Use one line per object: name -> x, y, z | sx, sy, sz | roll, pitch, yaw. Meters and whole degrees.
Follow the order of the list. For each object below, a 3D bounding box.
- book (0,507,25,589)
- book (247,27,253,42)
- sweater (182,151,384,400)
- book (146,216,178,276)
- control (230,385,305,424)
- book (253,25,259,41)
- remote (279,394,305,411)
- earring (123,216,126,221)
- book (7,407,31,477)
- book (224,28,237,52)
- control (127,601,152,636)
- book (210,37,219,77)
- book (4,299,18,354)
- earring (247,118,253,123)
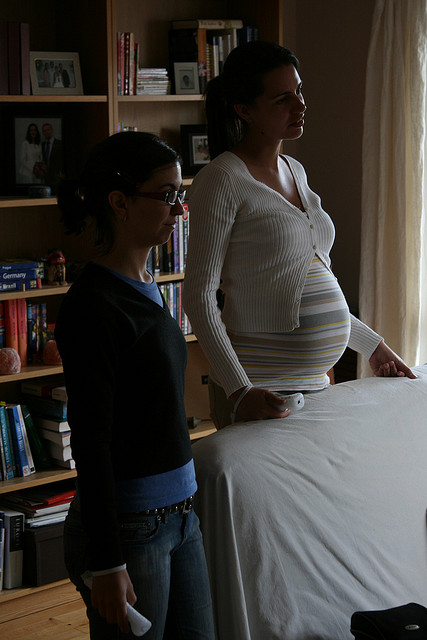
book -> -0.769, 0.882, 2.077 | 0.105, 0.295, 0.038 | -9, 10, -24
book -> 0.170, -1.347, 2.535 | 0.023, 0.064, 0.041 | -2, 10, 17
sweater -> 0.092, -0.118, 1.114 | 0.200, 0.458, 0.414 | 3, 12, 39
book -> -0.207, -0.356, 2.534 | 0.148, 0.225, 0.225 | 10, -3, 2
control -> 0.108, 0.158, 1.042 | 0.111, 0.032, 0.082 | -13, 3, -5
book -> 0.199, -1.362, 2.553 | 0.030, 0.075, 0.053 | -4, 9, 6
remote -> 0.154, 0.159, 1.060 | 0.046, 0.030, 0.025 | -6, 37, 20
earring -> -0.117, -0.134, 0.708 | 0.004, 0.006, 0.001 | -6, 9, -4
book -> -0.748, 0.472, 2.086 | 0.048, 0.206, 0.203 | -10, 15, -12
book -> 0.087, -1.302, 2.487 | 0.060, 0.115, 0.088 | -6, 9, -7
control -> -0.082, 0.327, 0.588 | 0.023, 0.038, 0.020 | -6, 9, -9
book -> 0.003, -1.223, 2.502 | 0.041, 0.184, 0.041 | -5, 9, 2
book -> -0.790, 0.016, 2.114 | 0.063, 0.197, 0.022 | -8, 10, -21
earring -> 0.073, -0.407, 1.095 | 0.007, 0.008, 0.002 | -14, -15, 11
